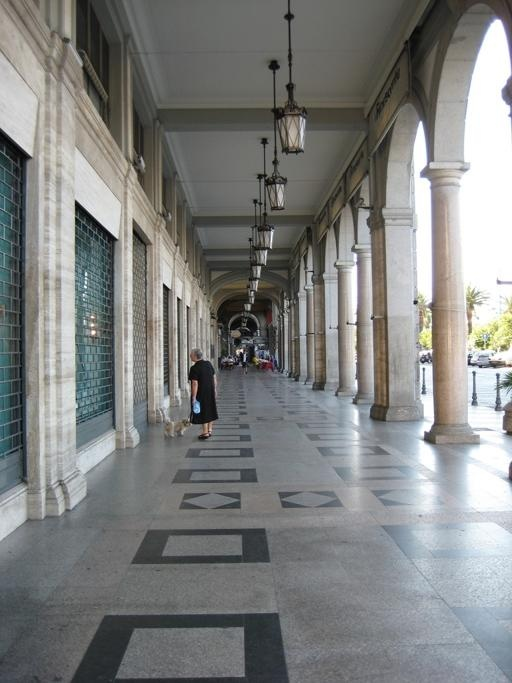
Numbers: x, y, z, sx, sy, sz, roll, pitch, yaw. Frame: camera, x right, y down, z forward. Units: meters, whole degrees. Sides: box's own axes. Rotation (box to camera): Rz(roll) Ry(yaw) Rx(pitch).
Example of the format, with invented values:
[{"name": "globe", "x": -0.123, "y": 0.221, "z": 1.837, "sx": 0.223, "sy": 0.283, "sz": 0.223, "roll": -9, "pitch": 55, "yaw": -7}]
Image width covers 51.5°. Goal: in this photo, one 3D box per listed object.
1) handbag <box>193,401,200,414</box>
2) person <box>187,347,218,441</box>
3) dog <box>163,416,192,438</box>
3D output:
[{"name": "handbag", "x": -1.023, "y": 1.114, "z": 8.870, "sx": 0.125, "sy": 0.250, "sz": 0.062, "roll": -1, "pitch": -1, "yaw": -12}, {"name": "person", "x": -0.944, "y": 0.901, "z": 9.032, "sx": 0.451, "sy": 1.519, "sz": 0.607, "roll": -1, "pitch": -1, "yaw": -8}, {"name": "dog", "x": -1.439, "y": 1.521, "z": 9.388, "sx": 0.470, "sy": 0.375, "sz": 0.283, "roll": -2, "pitch": -2, "yaw": 6}]
